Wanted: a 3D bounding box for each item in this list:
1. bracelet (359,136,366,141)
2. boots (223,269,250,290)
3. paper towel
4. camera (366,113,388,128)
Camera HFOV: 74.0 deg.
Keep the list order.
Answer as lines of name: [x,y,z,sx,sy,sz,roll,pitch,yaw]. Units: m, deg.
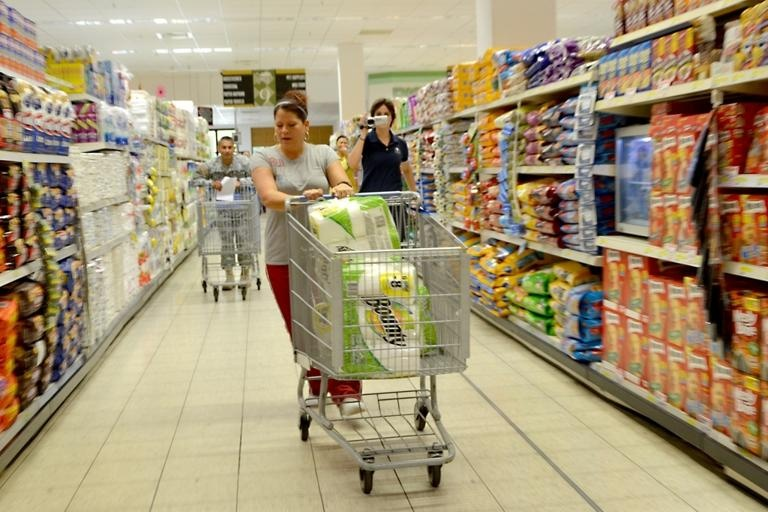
bracelet: [-0.210,-1.131,4.910,0.040,0.053,0.060,1,-8,-9]
boots: [-1.976,0.312,6.873,0.305,0.196,0.450,-1,-5,-7]
paper towel: [-0.075,0.126,2.583,0.528,0.801,0.630,-6,13,-14]
camera: [-0.051,-1.272,4.753,0.152,0.084,0.183,-3,6,-15]
